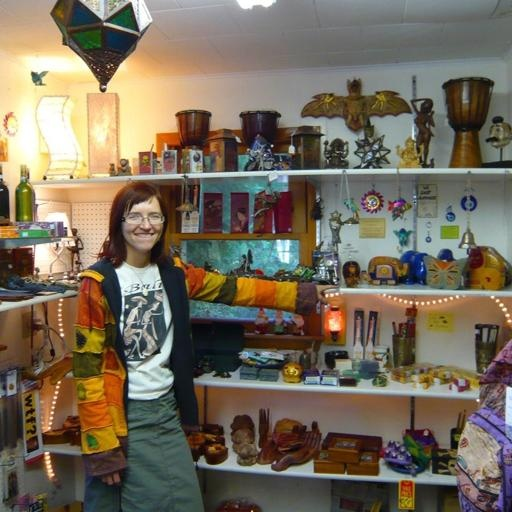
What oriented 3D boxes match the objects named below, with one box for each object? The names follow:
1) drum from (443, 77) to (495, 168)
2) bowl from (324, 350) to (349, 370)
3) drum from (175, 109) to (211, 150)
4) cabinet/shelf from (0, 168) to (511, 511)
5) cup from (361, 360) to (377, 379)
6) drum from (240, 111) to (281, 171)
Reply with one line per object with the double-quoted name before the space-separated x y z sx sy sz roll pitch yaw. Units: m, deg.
"drum" 1.057 -0.669 2.416 0.227 0.457 0.135 0 8 20
"bowl" 0.449 0.580 2.690 0.096 0.073 0.113 0 -8 6
"drum" -0.338 -0.704 2.742 0.226 0.191 0.213 -1 -2 -2
"cabinet/shelf" -0.410 0.212 2.163 1.229 1.129 0.629 -7 8 -33
"cup" 0.597 0.603 2.571 0.099 0.079 0.053 0 -6 -4
"drum" 0.031 -0.606 2.537 0.209 0.320 0.223 -3 7 0
